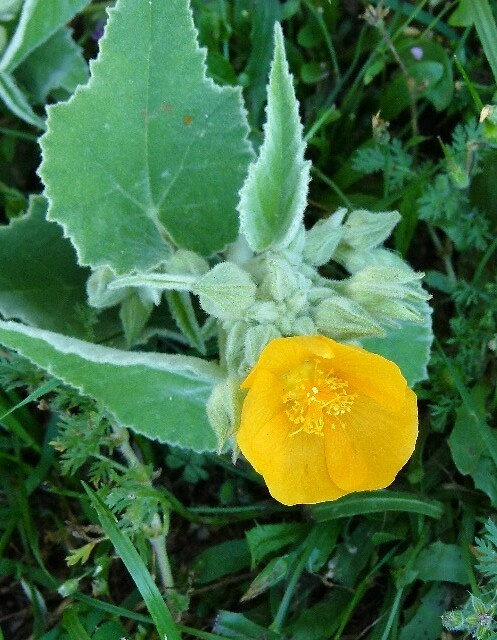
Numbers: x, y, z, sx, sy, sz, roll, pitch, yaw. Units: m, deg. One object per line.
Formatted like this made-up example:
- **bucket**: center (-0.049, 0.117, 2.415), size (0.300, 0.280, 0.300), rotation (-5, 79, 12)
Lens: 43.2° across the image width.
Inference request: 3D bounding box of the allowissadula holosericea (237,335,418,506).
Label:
- **allowissadula holosericea**: center (0.167, 0.238, 1.327), size (0.326, 0.683, 0.317), rotation (-1, 79, 5)
